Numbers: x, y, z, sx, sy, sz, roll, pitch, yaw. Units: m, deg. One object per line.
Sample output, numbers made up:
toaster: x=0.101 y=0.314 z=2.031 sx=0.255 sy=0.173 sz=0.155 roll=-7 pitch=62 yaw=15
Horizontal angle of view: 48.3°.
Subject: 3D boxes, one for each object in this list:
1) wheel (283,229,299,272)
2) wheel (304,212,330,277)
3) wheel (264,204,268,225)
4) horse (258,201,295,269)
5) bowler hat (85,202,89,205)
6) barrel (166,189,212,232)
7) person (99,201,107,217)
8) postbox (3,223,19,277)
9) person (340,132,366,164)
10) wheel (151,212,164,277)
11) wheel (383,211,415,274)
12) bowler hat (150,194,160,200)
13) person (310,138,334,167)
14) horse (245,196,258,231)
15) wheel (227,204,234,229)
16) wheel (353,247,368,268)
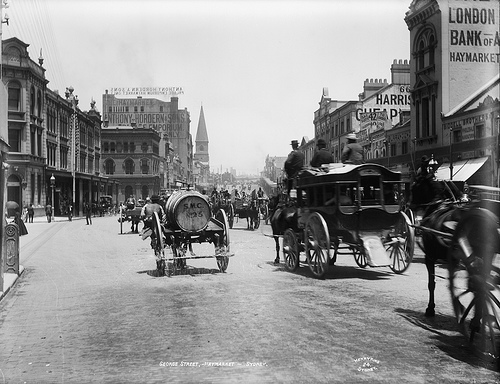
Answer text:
wheel: x=1.003 y=1.412 z=13.569 sx=0.237 sy=0.959 sz=0.877 roll=0 pitch=5 yaw=-12
wheel: x=1.524 y=1.156 z=12.457 sx=0.384 sy=1.285 sz=1.210 roll=-2 pitch=-1 yaw=-8
wheel: x=0.848 y=1.114 z=29.166 sx=0.299 sy=1.215 sz=1.113 roll=0 pitch=-2 yaw=-4
horse: x=0.967 y=1.158 z=15.529 sx=0.580 sy=1.638 sz=2.599 roll=8 pitch=-13 yaw=7
bowler hat: x=-11.335 y=0.755 z=38.931 sx=0.212 sy=0.329 sz=0.510 roll=1 pitch=-6 yaw=-20
barrel: x=-1.503 y=0.344 z=13.642 sx=0.738 sy=1.142 sz=0.988 roll=-3 pitch=2 yaw=-21
person: x=-17.015 y=1.988 z=64.550 sx=0.402 sy=1.536 sz=1.573 roll=6 pitch=38 yaw=-8
postbox: x=-5.820 y=1.384 z=13.607 sx=0.340 sy=1.257 sz=0.351 roll=-1 pitch=-1 yaw=-25
person: x=2.589 y=-1.120 z=14.061 sx=0.553 sy=0.752 sz=1.194 roll=-2 pitch=-1 yaw=11
wheel: x=-2.237 y=1.256 z=13.555 sx=0.211 sy=1.375 sz=1.254 roll=-4 pitch=7 yaw=-16
wheel: x=3.339 y=1.145 z=12.685 sx=0.310 sy=1.424 sz=1.297 roll=0 pitch=4 yaw=-15
bowler hat: x=-3.491 y=0.191 z=20.584 sx=0.464 sy=0.160 sz=0.493 roll=-1 pitch=3 yaw=-23
person: x=1.897 y=-0.874 z=14.564 sx=0.635 sy=1.072 sz=0.504 roll=-1 pitch=0 yaw=-18
horse: x=0.123 y=1.113 z=30.372 sx=0.623 sy=1.525 sz=1.857 roll=-2 pitch=-1 yaw=0
wheel: x=-0.997 y=1.224 z=28.490 sx=0.290 sy=1.324 sz=1.213 roll=1 pitch=-3 yaw=-8
wheel: x=2.661 y=1.563 z=13.383 sx=0.054 sy=0.602 sz=0.554 roll=-11 pitch=19 yaw=-20
